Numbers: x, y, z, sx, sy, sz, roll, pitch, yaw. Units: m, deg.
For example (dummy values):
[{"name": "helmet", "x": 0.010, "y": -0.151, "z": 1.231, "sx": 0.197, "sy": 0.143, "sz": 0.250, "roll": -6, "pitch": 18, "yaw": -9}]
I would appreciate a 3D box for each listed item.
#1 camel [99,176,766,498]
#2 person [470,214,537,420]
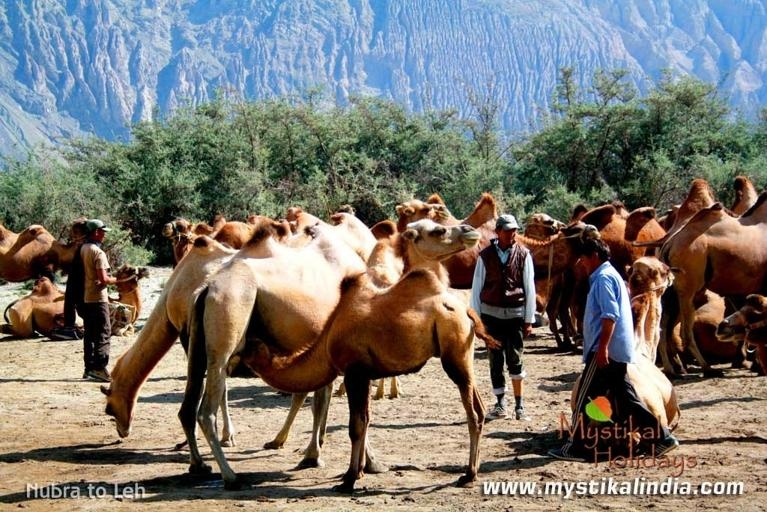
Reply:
[{"name": "camel", "x": 1.146, "y": 1.630, "z": 17.384, "sx": 7.673, "sy": 6.419, "sz": 6.672, "roll": 1, "pitch": 0, "yaw": -14}, {"name": "person", "x": 2.235, "y": 1.115, "z": 17.370, "sx": 1.177, "sy": 3.658, "sz": 0.954, "roll": 3, "pitch": 7, "yaw": 26}]
